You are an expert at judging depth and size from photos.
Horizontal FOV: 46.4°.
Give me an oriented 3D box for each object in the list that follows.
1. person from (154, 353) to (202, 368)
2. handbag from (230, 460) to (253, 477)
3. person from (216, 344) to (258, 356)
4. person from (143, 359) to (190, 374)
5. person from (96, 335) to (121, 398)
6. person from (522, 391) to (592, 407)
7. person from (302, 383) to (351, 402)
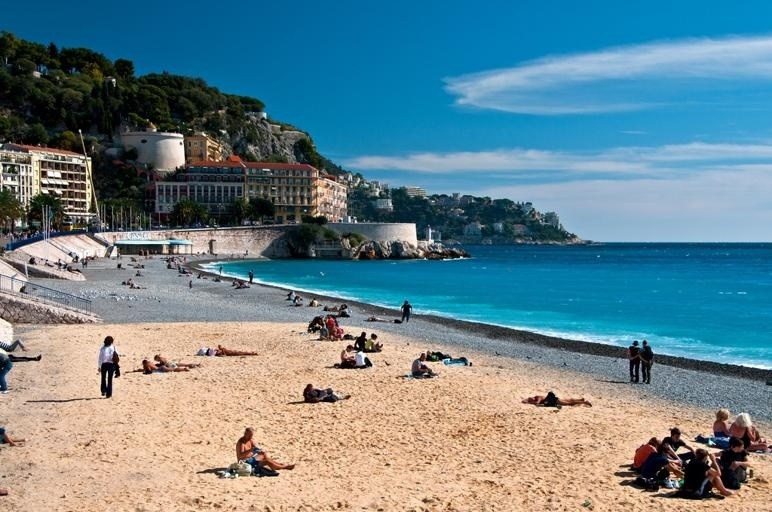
[{"bbox_3d":[-11.691,5.938,50.081,2.098,0.546,0.994,6,-3,-5],"label":"person"},{"bbox_3d":[-6.744,9.913,41.810,0.825,0.315,0.627,3,-2,6],"label":"handbag"},{"bbox_3d":[-8.895,5.560,53.043,2.239,0.557,1.222,0,2,-22],"label":"person"},{"bbox_3d":[-12.257,6.043,49.536,2.956,0.951,0.855,2,-12,-3],"label":"person"},{"bbox_3d":[-14.256,5.641,46.351,0.945,3.193,1.415,1,3,-17],"label":"person"},{"bbox_3d":[8.910,7.538,47.531,3.425,0.729,1.142,1,2,7],"label":"person"},{"bbox_3d":[-3.202,7.174,47.284,2.303,0.960,0.980,-2,-3,-9],"label":"person"}]
